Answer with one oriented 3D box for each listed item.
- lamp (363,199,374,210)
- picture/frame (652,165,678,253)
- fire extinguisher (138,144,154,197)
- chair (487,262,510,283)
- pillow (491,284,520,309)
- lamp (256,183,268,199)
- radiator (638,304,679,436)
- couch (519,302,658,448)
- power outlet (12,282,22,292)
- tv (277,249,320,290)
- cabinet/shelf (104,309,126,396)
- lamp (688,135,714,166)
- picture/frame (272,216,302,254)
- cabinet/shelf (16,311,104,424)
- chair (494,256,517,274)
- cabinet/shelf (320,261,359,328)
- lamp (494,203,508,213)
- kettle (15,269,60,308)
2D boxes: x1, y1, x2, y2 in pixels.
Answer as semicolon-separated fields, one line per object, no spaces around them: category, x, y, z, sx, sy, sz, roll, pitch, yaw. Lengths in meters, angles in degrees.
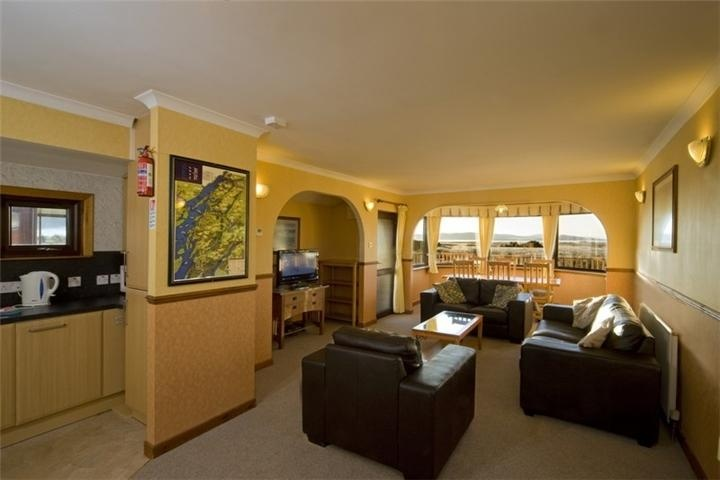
lamp;0.121;-0.634;8.042;0.076;0.145;0.192;-10;-4;28
picture/frame;3.422;-0.349;5.169;0.066;0.873;1.055;1;2;23
fire extinguisher;-2.107;-0.679;4.495;0.141;0.511;0.193;1;-2;-39
chair;2.604;0.598;8.723;0.328;0.588;0.343;4;10;27
pillow;2.298;0.902;7.369;0.456;0.370;0.553;0;-1;19
lamp;-1.325;-0.663;6.070;0.126;0.180;0.310;0;-1;18
radiator;3.018;1.366;4.658;0.086;0.797;1.216;2;9;21
couch;2.514;0.969;5.034;1.050;0.873;1.986;2;5;28
power outlet;-3.635;0.484;4.858;0.054;0.102;0.107;3;3;32
tv;-1.029;0.440;7.303;0.254;0.573;0.909;0;-1;30
cabinet/shelf;-2.732;1.233;5.073;0.220;0.951;0.078;1;-1;-30
lamp;3.117;-0.820;4.224;0.105;0.263;0.219;0;-1;12
picture/frame;-1.209;-0.088;7.380;0.066;0.694;0.584;-1;-4;30
cabinet/shelf;-3.240;1.259;5.138;0.835;1.331;0.948;0;0;26
chair;2.836;0.491;9.012;0.299;0.536;0.322;1;12;-3
cabinet/shelf;-0.346;0.907;8.163;0.800;1.102;0.390;0;-1;33
lamp;2.928;-0.681;9.615;0.208;0.147;0.204;-5;3;-40
kettle;-3.418;0.508;4.874;0.408;0.417;0.266;3;-3;-26
